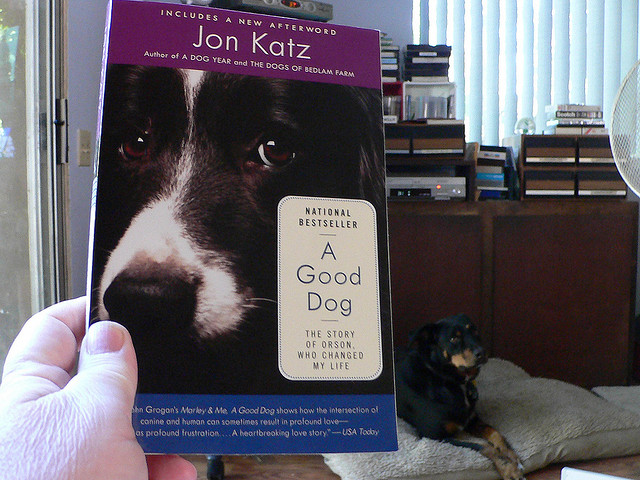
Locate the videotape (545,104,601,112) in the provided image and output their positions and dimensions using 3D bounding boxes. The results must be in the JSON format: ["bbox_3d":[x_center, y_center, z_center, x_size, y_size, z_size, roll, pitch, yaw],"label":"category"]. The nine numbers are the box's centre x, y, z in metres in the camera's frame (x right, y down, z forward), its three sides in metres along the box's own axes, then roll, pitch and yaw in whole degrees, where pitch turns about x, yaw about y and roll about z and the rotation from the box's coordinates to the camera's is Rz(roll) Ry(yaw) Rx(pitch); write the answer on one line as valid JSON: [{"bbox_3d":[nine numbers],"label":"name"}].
[{"bbox_3d":[1.280,-0.676,3.585,0.260,0.049,0.128,0,16,20],"label":"videotape"}]

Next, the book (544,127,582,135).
[{"bbox_3d":[1.206,-0.552,3.547,0.197,0.038,0.128,6,19,36],"label":"book"}]

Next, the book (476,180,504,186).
[{"bbox_3d":[0.855,-0.295,3.571,0.133,0.043,0.016,-5,12,4],"label":"book"}]
